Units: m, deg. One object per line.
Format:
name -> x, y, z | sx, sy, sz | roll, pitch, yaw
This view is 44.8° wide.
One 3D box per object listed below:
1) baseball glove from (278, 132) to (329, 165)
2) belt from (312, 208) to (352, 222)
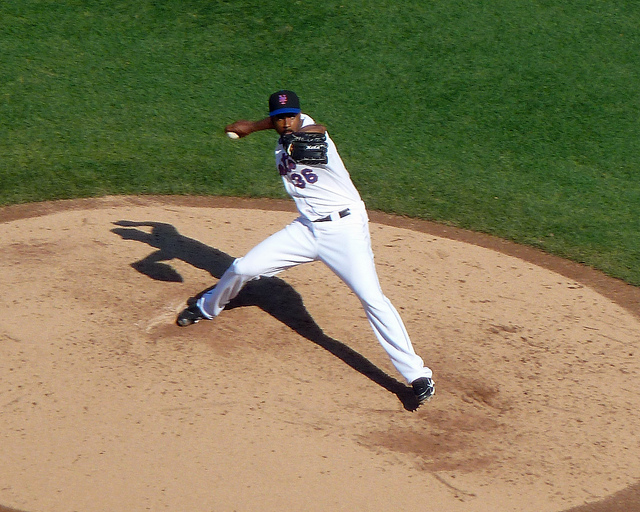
baseball glove -> -0.120, -0.856, 6.168 | 0.397, 0.293, 0.315 | -3, 76, -2
belt -> 0.106, -0.343, 6.432 | 0.209, 0.143, 0.032 | -15, 88, 3
